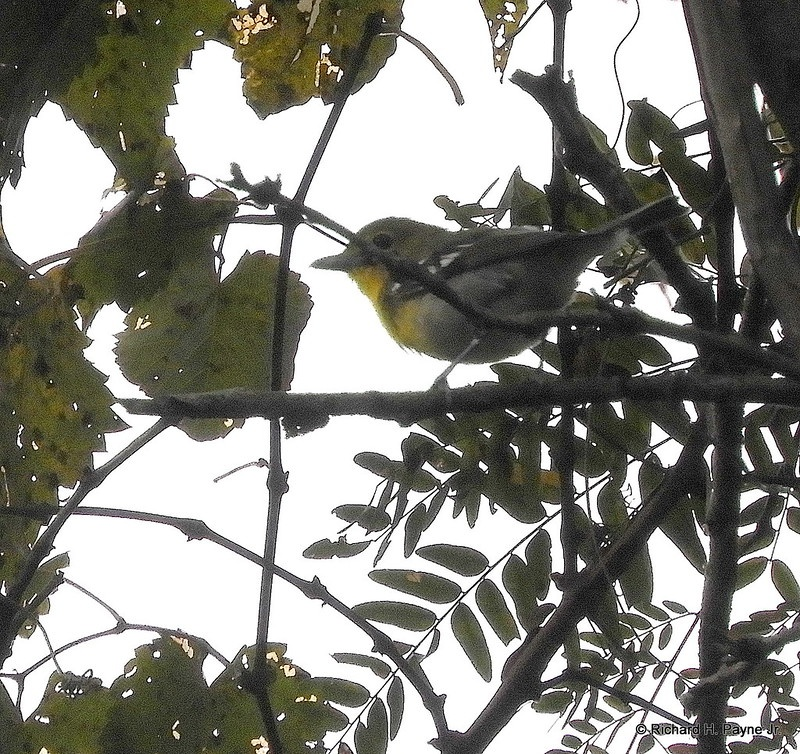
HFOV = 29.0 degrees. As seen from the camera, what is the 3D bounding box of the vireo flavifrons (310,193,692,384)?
[{"bbox_3d":[0.155,-0.163,2.397,0.595,0.285,0.195,-14,-24,24],"label":"vireo flavifrons"}]
